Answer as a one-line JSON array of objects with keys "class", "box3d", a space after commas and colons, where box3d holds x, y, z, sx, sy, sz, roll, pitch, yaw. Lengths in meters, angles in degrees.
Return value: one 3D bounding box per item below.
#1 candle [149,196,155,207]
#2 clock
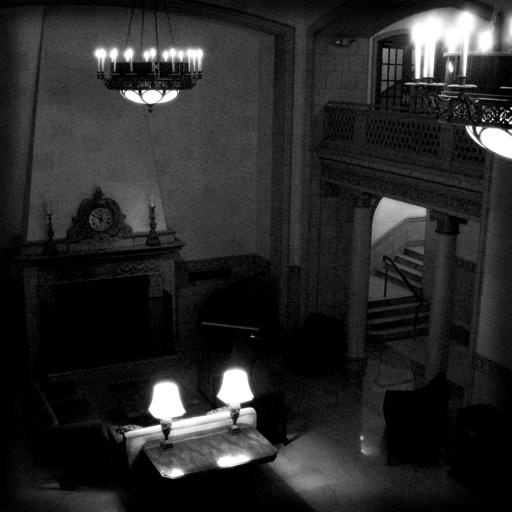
[{"class": "candle", "box3d": [-1.960, -1.054, 10.408, 0.105, 0.233, 0.359, -2, 10, -12]}, {"class": "clock", "box3d": [-2.908, -0.780, 10.114, 0.930, 0.849, 0.096, -9, 27, -26]}]
